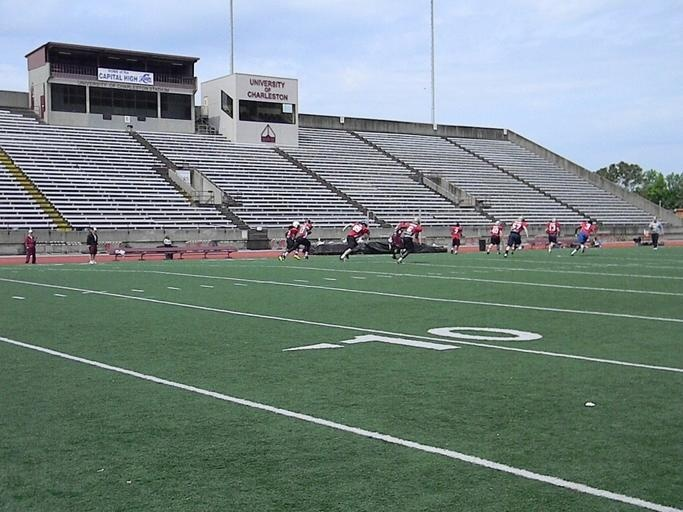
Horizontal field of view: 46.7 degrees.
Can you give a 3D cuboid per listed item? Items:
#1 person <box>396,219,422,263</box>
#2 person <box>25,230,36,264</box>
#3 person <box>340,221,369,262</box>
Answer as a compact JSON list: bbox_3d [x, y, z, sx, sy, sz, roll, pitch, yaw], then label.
[{"bbox_3d":[2.050,-0.501,24.388,0.734,1.451,0.643,13,8,9],"label":"person"},{"bbox_3d":[-10.306,-0.313,26.184,0.310,1.068,1.727,-1,6,-22],"label":"person"},{"bbox_3d":[0.460,-0.636,26.481,1.069,1.415,0.652,-9,36,-40],"label":"person"}]
